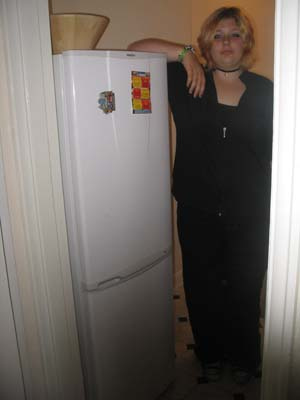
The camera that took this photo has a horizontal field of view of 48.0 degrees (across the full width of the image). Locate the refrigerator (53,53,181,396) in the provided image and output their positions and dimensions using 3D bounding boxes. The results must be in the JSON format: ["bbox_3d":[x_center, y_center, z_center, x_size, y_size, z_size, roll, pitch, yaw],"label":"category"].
[{"bbox_3d":[-0.077,0.231,1.398,0.141,1.566,0.523,10,18,41],"label":"refrigerator"}]

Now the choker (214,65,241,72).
[{"bbox_3d":[0.361,-0.615,1.573,0.119,0.033,0.009,5,15,24],"label":"choker"}]

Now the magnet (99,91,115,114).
[{"bbox_3d":[-0.144,-0.332,1.137,0.060,0.068,0.014,-4,9,-42],"label":"magnet"}]

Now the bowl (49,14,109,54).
[{"bbox_3d":[-0.248,-0.560,1.139,0.171,0.113,0.112,-8,15,-21],"label":"bowl"}]

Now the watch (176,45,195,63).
[{"bbox_3d":[0.157,-0.665,1.534,0.029,0.082,0.061,47,23,23],"label":"watch"}]
